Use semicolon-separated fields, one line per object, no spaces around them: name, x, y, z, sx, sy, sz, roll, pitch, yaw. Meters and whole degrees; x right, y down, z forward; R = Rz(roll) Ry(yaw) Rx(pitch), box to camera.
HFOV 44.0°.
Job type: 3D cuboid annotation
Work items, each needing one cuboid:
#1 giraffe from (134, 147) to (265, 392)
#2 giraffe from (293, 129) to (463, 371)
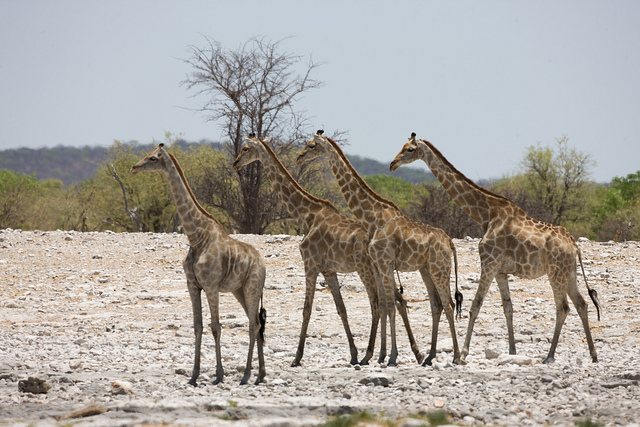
giraffe;-2.502;1.291;19.143;2.718;5.647;1.942;-1;-5;12
giraffe;1.896;0.956;20.591;3.476;5.788;2.664;-1;-5;9
